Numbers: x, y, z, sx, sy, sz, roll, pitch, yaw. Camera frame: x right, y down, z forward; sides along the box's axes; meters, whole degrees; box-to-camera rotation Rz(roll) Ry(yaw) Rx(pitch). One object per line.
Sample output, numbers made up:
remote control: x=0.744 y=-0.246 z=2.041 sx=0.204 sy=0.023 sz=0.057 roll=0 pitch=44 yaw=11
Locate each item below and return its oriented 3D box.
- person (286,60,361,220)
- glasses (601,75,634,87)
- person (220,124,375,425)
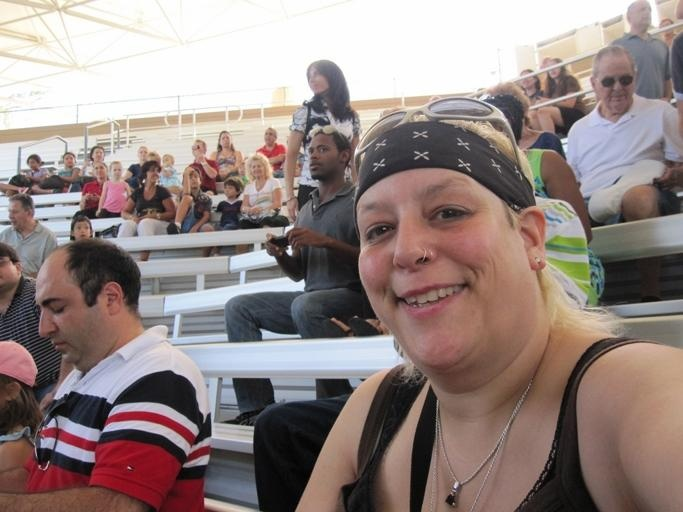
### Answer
person: x=-0.124 y=-0.554 z=4.847 sx=0.563 sy=1.734 sz=0.453 roll=0 pitch=10 yaw=-1
glasses: x=1.698 y=-1.079 z=4.023 sx=0.091 sy=0.030 sz=0.093 roll=-3 pitch=-5 yaw=30
person: x=-0.202 y=0.093 z=3.672 sx=0.908 sy=1.681 sz=0.882 roll=3 pitch=-12 yaw=-25
